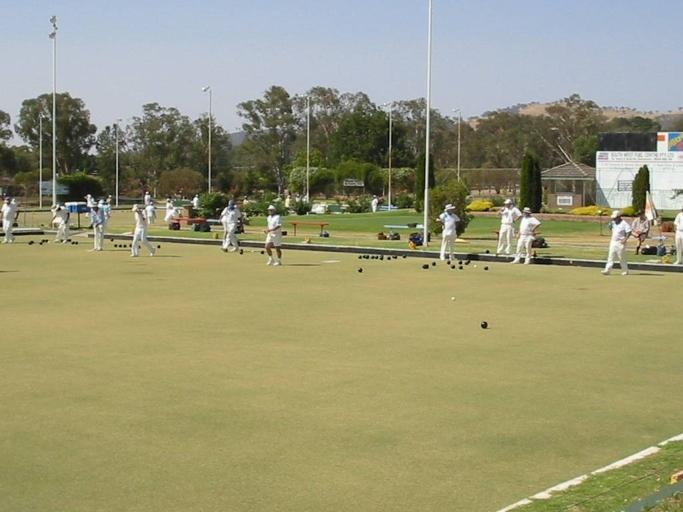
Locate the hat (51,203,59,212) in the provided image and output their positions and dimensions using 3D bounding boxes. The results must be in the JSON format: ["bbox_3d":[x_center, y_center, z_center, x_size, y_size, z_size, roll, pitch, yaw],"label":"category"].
[{"bbox_3d":[-11.056,-1.905,38.199,0.429,0.203,0.535,-2,4,-14],"label":"hat"}]

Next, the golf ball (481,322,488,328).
[{"bbox_3d":[2.538,1.208,17.636,0.099,0.093,0.098,-23,10,4],"label":"golf ball"}]

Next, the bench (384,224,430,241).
[{"bbox_3d":[2.857,-1.383,46.596,1.788,0.242,4.190,-1,10,-2],"label":"bench"}]

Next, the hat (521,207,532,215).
[{"bbox_3d":[5.245,-1.301,28.184,0.322,0.137,0.429,3,3,10],"label":"hat"}]

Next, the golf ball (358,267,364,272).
[{"bbox_3d":[0.486,0.353,26.564,0.112,0.077,0.101,3,-1,4],"label":"golf ball"}]

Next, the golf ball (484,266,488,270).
[{"bbox_3d":[4.021,0.316,27.720,0.086,0.067,0.096,3,5,-3],"label":"golf ball"}]

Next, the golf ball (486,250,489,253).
[{"bbox_3d":[4.642,-0.159,31.644,0.122,0.086,0.119,3,8,0],"label":"golf ball"}]

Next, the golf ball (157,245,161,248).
[{"bbox_3d":[-6.562,-0.369,35.344,0.130,0.123,0.125,2,7,0],"label":"golf ball"}]
